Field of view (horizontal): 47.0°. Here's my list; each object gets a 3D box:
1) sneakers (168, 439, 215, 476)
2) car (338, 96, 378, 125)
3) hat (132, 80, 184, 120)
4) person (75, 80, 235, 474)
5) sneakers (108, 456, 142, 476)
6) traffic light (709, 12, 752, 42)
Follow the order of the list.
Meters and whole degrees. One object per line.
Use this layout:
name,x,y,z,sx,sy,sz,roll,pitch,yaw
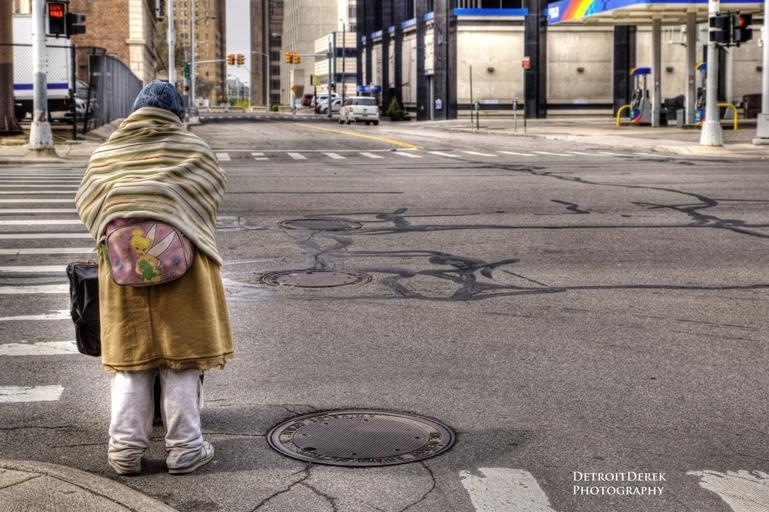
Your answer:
sneakers,-1.279,1.346,5.956,0.136,0.148,0.334,4,11,19
car,-1.840,-10.847,64.629,1.656,1.278,3.323,-1,13,-10
hat,-1.594,-1.108,6.306,0.265,0.308,0.342,3,-20,-11
person,-1.531,0.099,6.012,0.932,2.538,1.018,-3,13,-18
sneakers,-1.701,1.378,5.880,0.211,0.112,0.161,-3,13,-14
traffic light,11.309,-7.451,28.683,1.350,1.231,1.062,-1,4,16
